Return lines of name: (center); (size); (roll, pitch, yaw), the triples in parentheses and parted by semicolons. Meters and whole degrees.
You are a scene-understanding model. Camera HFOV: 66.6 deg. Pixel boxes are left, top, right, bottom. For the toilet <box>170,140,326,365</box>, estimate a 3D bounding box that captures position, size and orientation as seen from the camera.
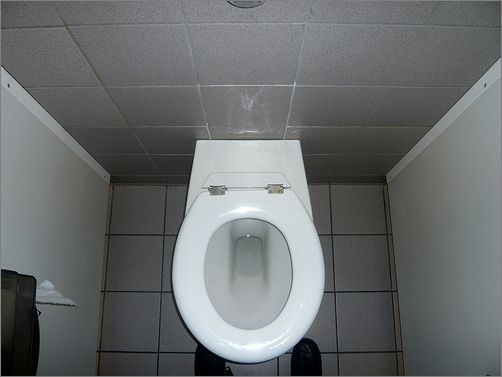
toilet: (-0.002, 0.265, 1.820); (0.608, 0.936, 0.649); (0, -13, 2)
